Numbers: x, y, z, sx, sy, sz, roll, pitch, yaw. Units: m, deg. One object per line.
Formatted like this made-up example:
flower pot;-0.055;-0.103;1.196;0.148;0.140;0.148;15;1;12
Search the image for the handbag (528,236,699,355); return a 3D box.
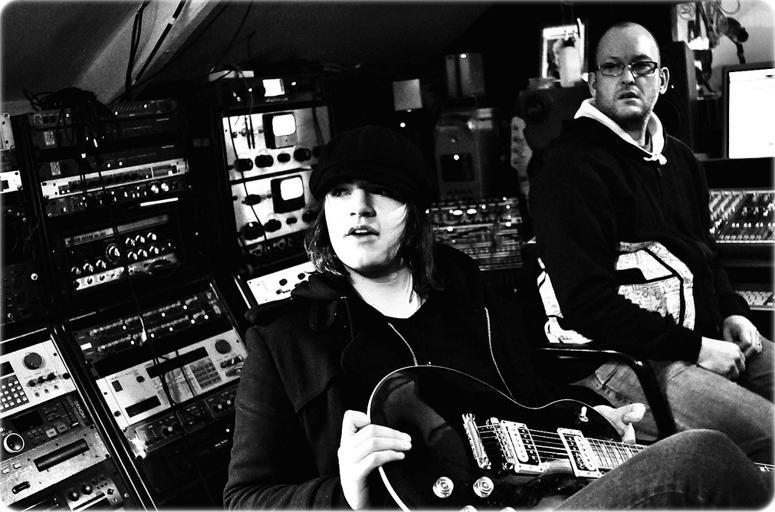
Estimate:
handbag;1.281;0.184;3.479;0.560;0.293;0.762;-10;10;-41
